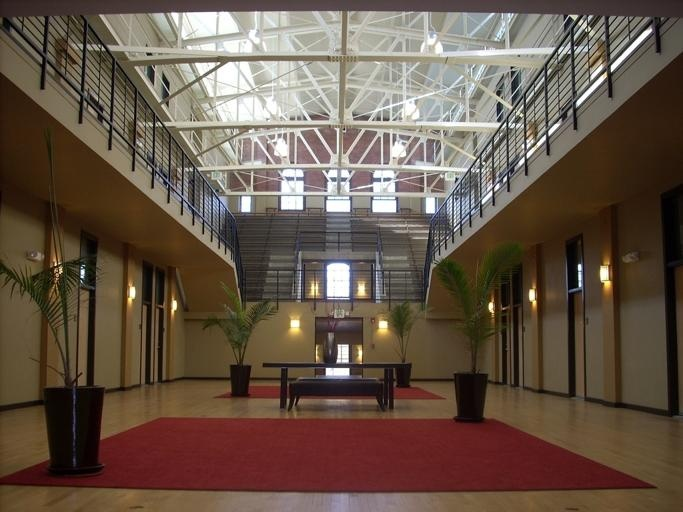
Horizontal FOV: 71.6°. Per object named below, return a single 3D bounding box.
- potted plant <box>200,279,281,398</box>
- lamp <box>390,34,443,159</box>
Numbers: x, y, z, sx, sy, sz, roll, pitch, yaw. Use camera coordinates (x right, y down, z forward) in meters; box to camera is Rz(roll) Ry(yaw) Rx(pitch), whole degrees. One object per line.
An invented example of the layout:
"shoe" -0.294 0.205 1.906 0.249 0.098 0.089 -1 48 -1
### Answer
"potted plant" -2.507 2.142 11.172 2.191 2.295 1.695 9 -29 -31
"lamp" 2.803 -6.085 17.610 0.633 5.053 1.104 18 -5 -2
